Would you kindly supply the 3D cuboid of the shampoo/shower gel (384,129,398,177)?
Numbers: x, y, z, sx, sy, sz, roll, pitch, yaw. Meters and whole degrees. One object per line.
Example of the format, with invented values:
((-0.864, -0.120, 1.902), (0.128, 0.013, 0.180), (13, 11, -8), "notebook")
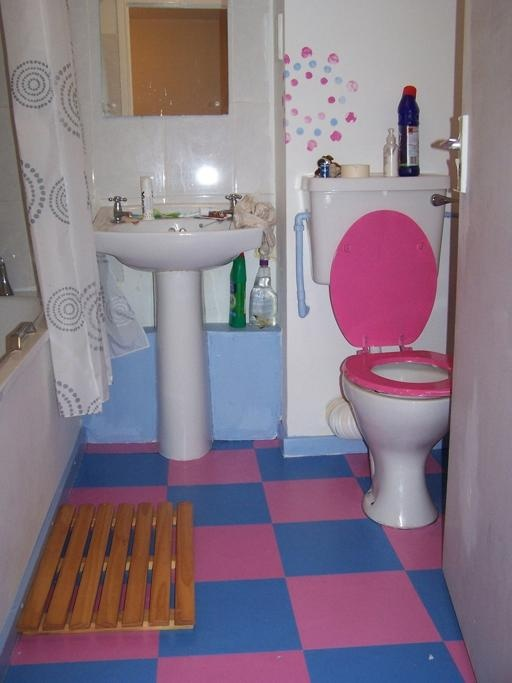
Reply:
((0.402, -0.570, 1.563), (0.045, 0.162, 0.162), (2, 11, 13), "shampoo/shower gel")

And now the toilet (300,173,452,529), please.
((0.389, 0.000, 1.540), (0.395, 0.930, 0.679), (-2, 11, -7), "toilet")

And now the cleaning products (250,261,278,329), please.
((0.026, -0.179, 1.950), (0.102, 0.254, 0.108), (0, 10, -2), "cleaning products")

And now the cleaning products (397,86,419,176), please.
((0.448, -0.616, 1.533), (0.062, 0.256, 0.065), (2, 10, 10), "cleaning products")

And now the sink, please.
((-0.271, -0.316, 1.655), (0.580, 0.205, 0.421), (1, 11, 3), "sink")
